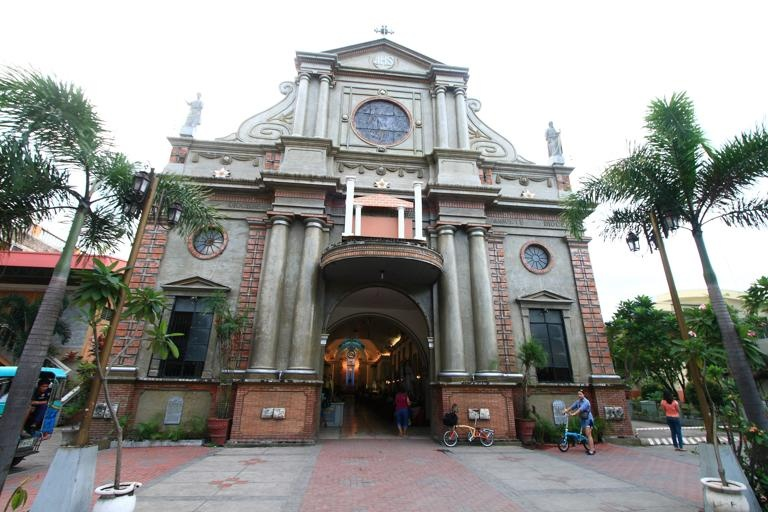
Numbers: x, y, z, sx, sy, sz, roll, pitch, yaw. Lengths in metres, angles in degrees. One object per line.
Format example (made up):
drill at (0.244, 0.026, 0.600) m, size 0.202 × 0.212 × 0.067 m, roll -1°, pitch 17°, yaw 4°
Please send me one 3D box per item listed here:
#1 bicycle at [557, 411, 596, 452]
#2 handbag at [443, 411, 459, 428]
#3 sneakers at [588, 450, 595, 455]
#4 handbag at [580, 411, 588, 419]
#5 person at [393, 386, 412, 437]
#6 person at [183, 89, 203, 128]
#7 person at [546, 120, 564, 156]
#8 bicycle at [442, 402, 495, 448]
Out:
bicycle at (7.227, 6.884, 14.675) m, size 1.606 × 1.010 × 0.788 m, roll 20°, pitch -44°, yaw -29°
handbag at (2.516, 6.163, 14.780) m, size 0.639 × 0.614 × 0.663 m, roll -1°, pitch -20°, yaw 22°
sneakers at (7.376, 6.988, 13.723) m, size 0.134 × 0.148 × 0.381 m, roll -6°, pitch -38°, yaw 9°
handbag at (7.294, 5.749, 13.936) m, size 0.306 × 0.264 × 0.175 m, roll -8°, pitch -16°, yaw 32°
person at (0.830, 6.978, 17.137) m, size 0.504 × 1.840 × 1.145 m, roll 1°, pitch -14°, yaw -1°
person at (-9.390, -7.367, 19.227) m, size 0.650 × 2.171 × 1.171 m, roll 9°, pitch -16°, yaw -28°
person at (9.186, -6.427, 20.952) m, size 0.701 × 1.969 × 0.884 m, roll -5°, pitch -15°, yaw 23°
bicycle at (3.287, 6.557, 14.888) m, size 1.970 × 1.487 × 1.275 m, roll -1°, pitch -14°, yaw 6°
